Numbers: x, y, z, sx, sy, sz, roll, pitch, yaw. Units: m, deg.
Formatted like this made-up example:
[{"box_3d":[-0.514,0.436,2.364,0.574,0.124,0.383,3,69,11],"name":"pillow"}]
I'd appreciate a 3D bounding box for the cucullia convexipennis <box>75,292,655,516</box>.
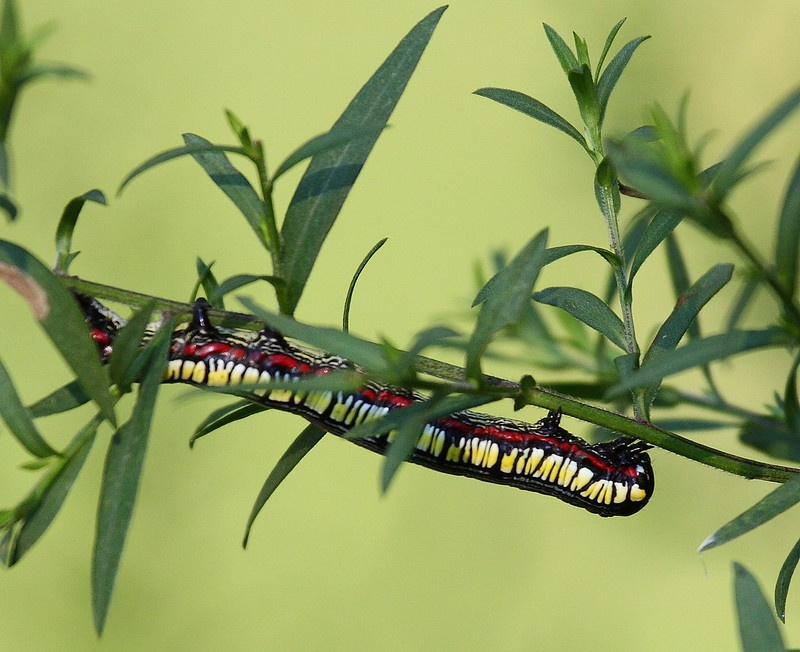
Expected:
[{"box_3d":[-0.019,0.066,0.936,0.447,0.102,0.122,20,-11,-8],"name":"cucullia convexipennis"}]
